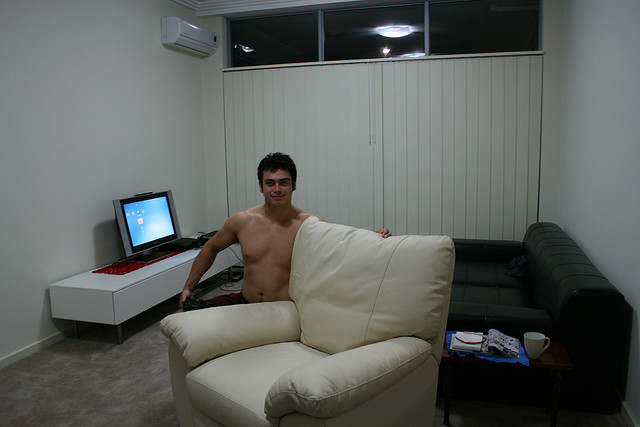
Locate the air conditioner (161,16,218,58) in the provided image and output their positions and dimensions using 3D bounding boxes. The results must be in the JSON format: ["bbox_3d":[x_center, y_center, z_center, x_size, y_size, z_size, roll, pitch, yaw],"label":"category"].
[{"bbox_3d":[-1.605,-2.228,5.361,0.223,0.339,0.784,10,13,21],"label":"air conditioner"}]

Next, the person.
[{"bbox_3d":[-0.335,0.214,3.126,1.317,1.251,0.430,5,7,3],"label":"person"}]

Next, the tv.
[{"bbox_3d":[-1.929,0.157,4.649,0.211,0.613,0.666,-9,7,28],"label":"tv"}]

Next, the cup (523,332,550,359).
[{"bbox_3d":[1.398,0.860,2.774,0.125,0.139,0.186,-3,-7,15],"label":"cup"}]
